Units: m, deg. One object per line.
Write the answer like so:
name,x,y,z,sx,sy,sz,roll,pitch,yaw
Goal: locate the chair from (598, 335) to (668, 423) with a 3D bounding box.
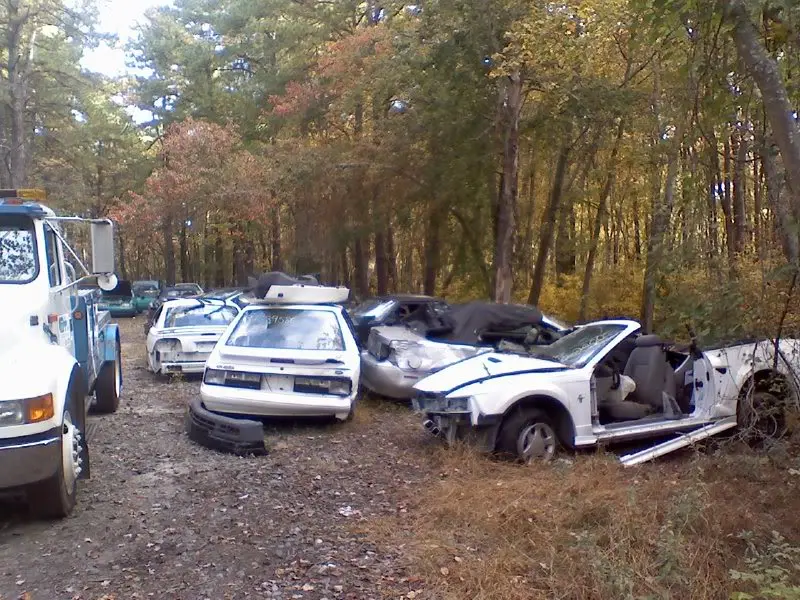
chair,3.064,0.997,9.647,0.841,1.215,0.734,5,-6,-19
